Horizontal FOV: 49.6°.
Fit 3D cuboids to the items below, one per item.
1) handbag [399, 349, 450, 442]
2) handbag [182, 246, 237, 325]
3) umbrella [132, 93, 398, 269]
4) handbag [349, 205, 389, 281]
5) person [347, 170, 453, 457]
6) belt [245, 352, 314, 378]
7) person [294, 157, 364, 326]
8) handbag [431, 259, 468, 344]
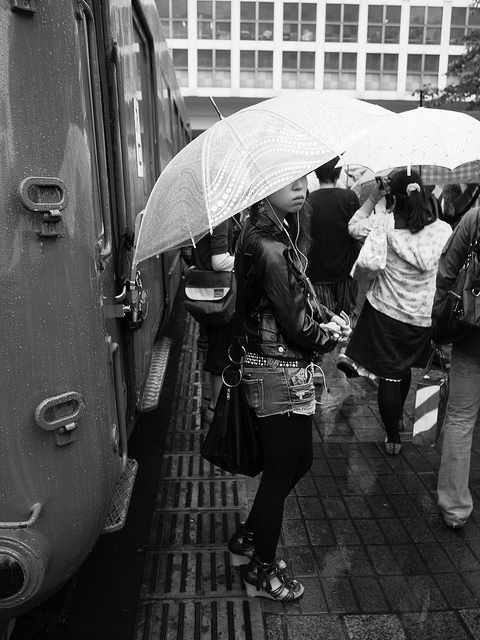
[{"bbox_3d":[1.182,0.508,3.392,0.171,0.749,0.411,7,18,22],"label":"handbag"},{"bbox_3d":[-0.221,-0.198,3.758,0.289,0.727,0.342,0,14,-13],"label":"handbag"},{"bbox_3d":[0.004,-0.574,2.223,0.992,0.555,1.102,-5,7,38],"label":"umbrella"},{"bbox_3d":[0.849,-0.499,3.479,0.118,0.481,0.275,10,24,30],"label":"handbag"},{"bbox_3d":[1.161,-0.096,3.818,0.510,2.276,0.675,-8,31,-5],"label":"person"},{"bbox_3d":[0.168,0.187,2.098,0.294,0.105,0.097,-2,9,-11],"label":"belt"},{"bbox_3d":[0.927,-0.731,5.297,0.434,1.908,0.506,1,31,19],"label":"person"},{"bbox_3d":[1.078,-0.081,2.691,0.168,0.457,0.121,4,8,31],"label":"handbag"}]
